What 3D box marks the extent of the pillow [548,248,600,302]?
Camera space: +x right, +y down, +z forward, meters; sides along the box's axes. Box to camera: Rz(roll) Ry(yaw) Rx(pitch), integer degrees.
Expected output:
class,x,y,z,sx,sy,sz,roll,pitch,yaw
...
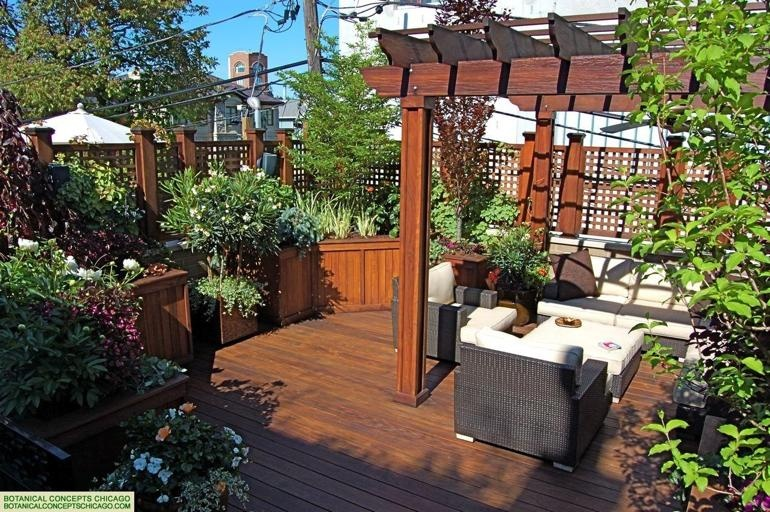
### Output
class,x,y,z,sx,sy,sz,roll,pitch,yaw
pillow,2.829,0.347,8.174,0.652,0.738,0.545,5,18,6

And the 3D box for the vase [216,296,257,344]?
class,x,y,z,sx,sy,sz,roll,pitch,yaw
vase,-2.063,0.874,7.500,0.328,0.585,0.643,3,7,33

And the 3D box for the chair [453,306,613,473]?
class,x,y,z,sx,sy,sz,roll,pitch,yaw
chair,1.554,1.323,5.884,1.324,1.346,1.390,7,17,29

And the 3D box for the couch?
class,x,y,z,sx,sy,sz,roll,pitch,yaw
couch,2.937,1.213,7.418,2.160,0.853,2.040,12,18,36

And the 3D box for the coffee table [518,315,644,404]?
class,x,y,z,sx,sy,sz,roll,pitch,yaw
coffee table,2.637,1.071,6.604,1.370,0.538,1.267,9,24,31

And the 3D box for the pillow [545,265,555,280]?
class,x,y,z,sx,sy,sz,roll,pitch,yaw
pillow,2.656,0.273,8.719,0.227,0.200,0.052,9,-20,6
